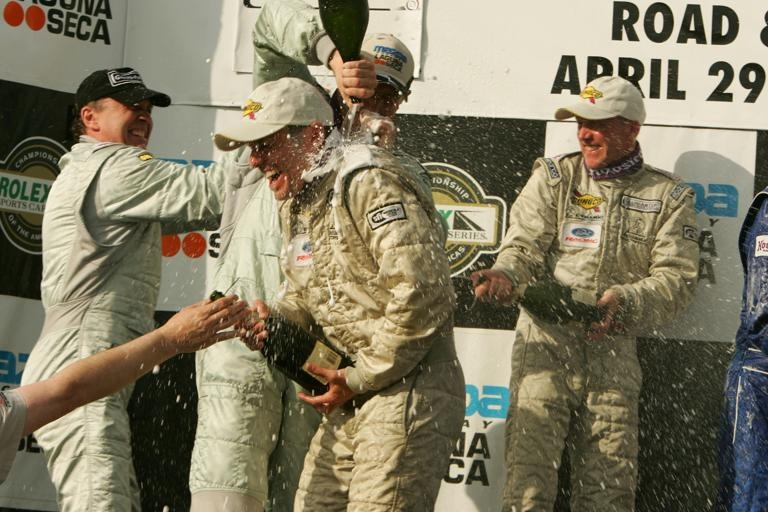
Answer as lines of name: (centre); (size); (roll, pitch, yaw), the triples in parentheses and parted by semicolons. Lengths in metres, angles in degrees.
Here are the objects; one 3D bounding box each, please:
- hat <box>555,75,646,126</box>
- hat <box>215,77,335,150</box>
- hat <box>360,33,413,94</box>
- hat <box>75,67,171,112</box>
hat: (1.619, -1.141, 8.118); (0.485, 0.326, 0.377); (13, 5, -9)
hat: (-0.708, -0.874, 6.834); (0.551, 0.361, 0.425); (-1, -2, -15)
hat: (0.038, -1.322, 7.465); (0.287, 0.249, 0.419); (42, 2, -43)
hat: (-1.908, -1.182, 7.975); (0.483, 0.262, 0.358); (-5, 1, 6)
